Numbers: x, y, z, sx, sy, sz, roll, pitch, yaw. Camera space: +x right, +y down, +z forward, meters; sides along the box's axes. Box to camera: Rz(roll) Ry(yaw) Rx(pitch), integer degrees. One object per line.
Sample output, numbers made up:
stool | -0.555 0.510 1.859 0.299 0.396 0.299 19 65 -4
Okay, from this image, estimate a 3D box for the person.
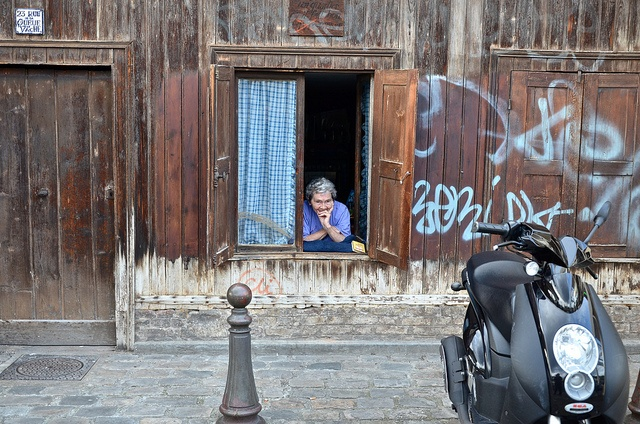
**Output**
person | 0.032 -0.070 10.341 0.733 1.174 0.688 -1 3 -6
